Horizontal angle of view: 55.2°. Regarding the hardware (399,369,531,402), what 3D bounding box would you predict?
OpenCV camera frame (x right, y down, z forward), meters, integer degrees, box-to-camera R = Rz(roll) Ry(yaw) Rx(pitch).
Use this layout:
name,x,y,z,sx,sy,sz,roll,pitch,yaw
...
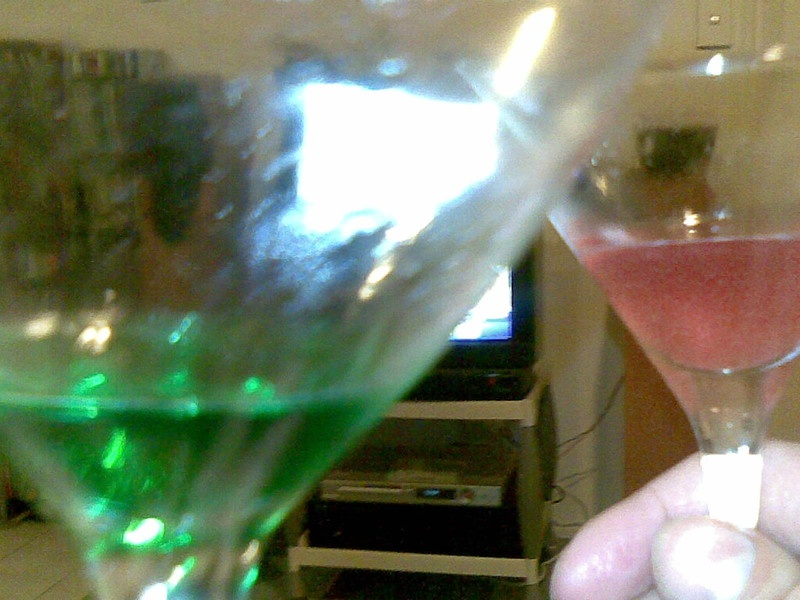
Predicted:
name,x,y,z,sx,sy,sz,roll,pitch,yaw
hardware,0.066,0.090,0.795,0.101,0.017,0.015,-7,36,2

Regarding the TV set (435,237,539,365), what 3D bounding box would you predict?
name,x,y,z,sx,sy,sz,roll,pitch,yaw
TV set,0.109,0.002,0.849,0.156,0.118,0.033,1,6,-9
